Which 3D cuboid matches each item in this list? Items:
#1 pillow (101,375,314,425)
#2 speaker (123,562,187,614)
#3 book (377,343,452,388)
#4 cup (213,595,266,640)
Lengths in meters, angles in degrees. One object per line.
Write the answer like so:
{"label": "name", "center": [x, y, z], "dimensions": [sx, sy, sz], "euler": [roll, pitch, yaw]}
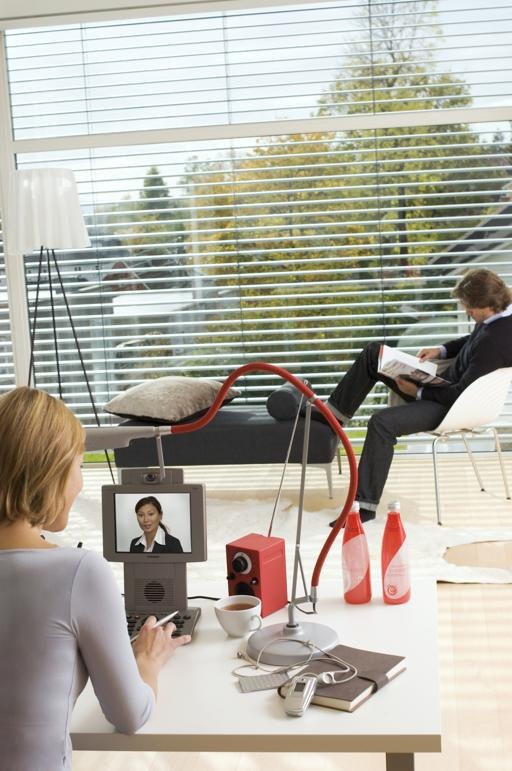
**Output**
{"label": "pillow", "center": [-0.457, 0.068, 3.969], "dimensions": [0.465, 0.165, 0.585], "euler": [-3, 3, 22]}
{"label": "speaker", "center": [-0.188, 0.386, 1.385], "dimensions": [0.149, 0.119, 0.073], "euler": [-1, -4, 3]}
{"label": "book", "center": [0.799, -0.089, 3.663], "dimensions": [0.295, 0.103, 0.221], "euler": [18, 4, -23]}
{"label": "cup", "center": [-0.028, 0.414, 1.294], "dimensions": [0.078, 0.039, 0.062], "euler": [7, 11, 35]}
